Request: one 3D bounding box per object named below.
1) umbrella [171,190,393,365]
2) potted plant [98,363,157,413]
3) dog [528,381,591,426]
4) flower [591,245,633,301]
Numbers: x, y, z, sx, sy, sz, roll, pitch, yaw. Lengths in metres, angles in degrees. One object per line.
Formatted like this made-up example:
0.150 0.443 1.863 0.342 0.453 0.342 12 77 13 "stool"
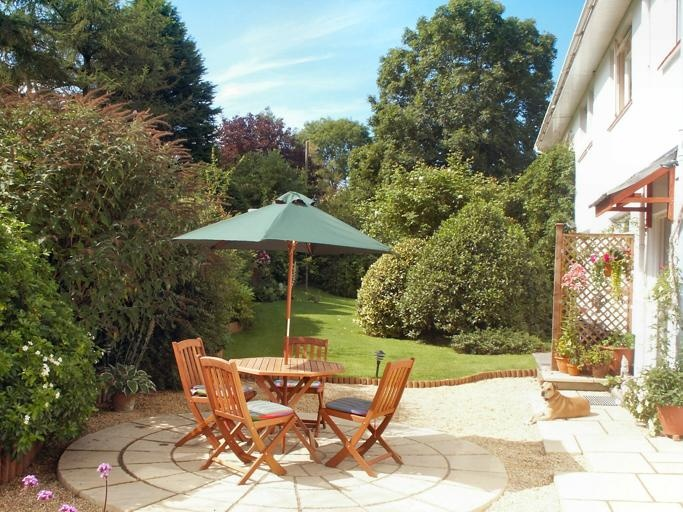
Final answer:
-0.734 0.075 8.999 2.621 1.881 2.696 3 1 39 "umbrella"
-3.310 1.997 9.529 0.753 0.465 0.731 1 -10 -2 "potted plant"
3.421 2.235 9.529 1.006 0.559 0.368 -14 -7 42 "dog"
4.756 0.290 10.963 0.624 0.950 0.473 4 0 11 "flower"
